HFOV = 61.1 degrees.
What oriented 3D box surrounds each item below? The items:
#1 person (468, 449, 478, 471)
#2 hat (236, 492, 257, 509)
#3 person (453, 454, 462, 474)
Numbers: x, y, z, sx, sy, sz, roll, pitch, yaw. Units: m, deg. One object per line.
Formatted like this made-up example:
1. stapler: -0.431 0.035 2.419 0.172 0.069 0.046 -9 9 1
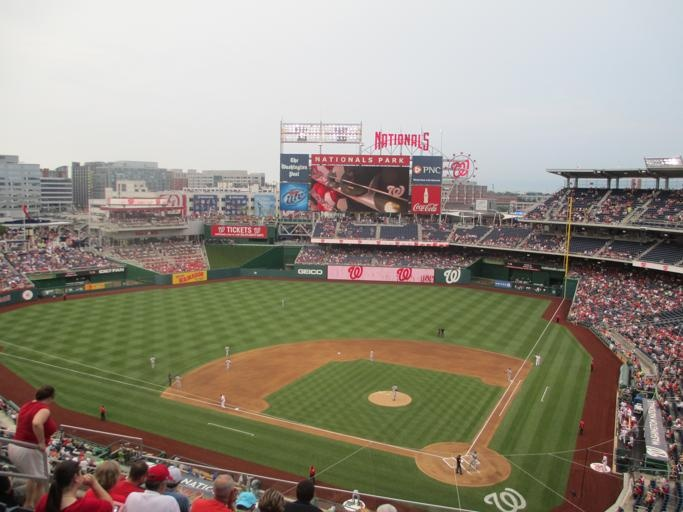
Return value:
1. person: 6.683 10.315 29.225 0.616 0.248 0.764 8 24 25
2. hat: -2.773 7.144 16.896 0.619 0.666 0.380 5 -30 -2
3. person: 5.861 10.276 28.805 0.372 0.788 0.858 3 12 10
